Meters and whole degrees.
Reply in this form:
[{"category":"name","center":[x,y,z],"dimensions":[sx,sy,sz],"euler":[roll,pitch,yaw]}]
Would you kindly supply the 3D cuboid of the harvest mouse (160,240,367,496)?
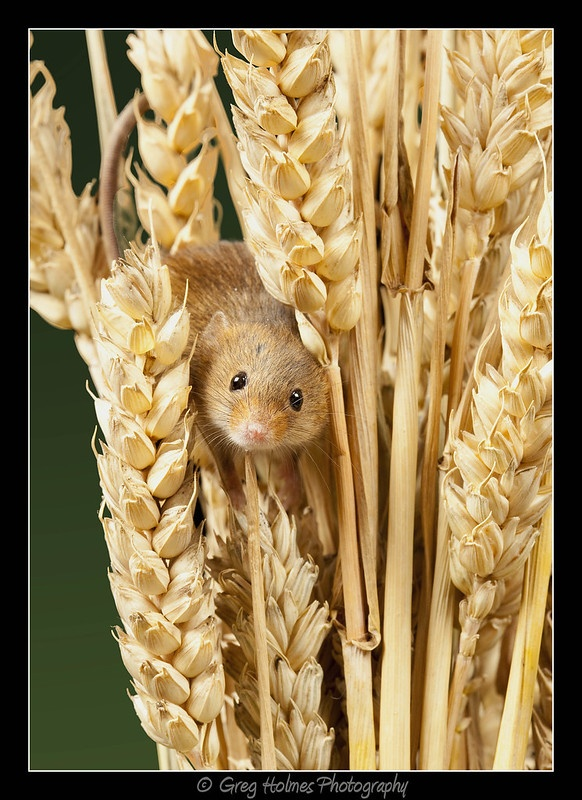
[{"category":"harvest mouse","center":[-0.032,-0.045,1.079],"dimensions":[0.147,0.320,0.167],"euler":[-5,-22,-6]}]
